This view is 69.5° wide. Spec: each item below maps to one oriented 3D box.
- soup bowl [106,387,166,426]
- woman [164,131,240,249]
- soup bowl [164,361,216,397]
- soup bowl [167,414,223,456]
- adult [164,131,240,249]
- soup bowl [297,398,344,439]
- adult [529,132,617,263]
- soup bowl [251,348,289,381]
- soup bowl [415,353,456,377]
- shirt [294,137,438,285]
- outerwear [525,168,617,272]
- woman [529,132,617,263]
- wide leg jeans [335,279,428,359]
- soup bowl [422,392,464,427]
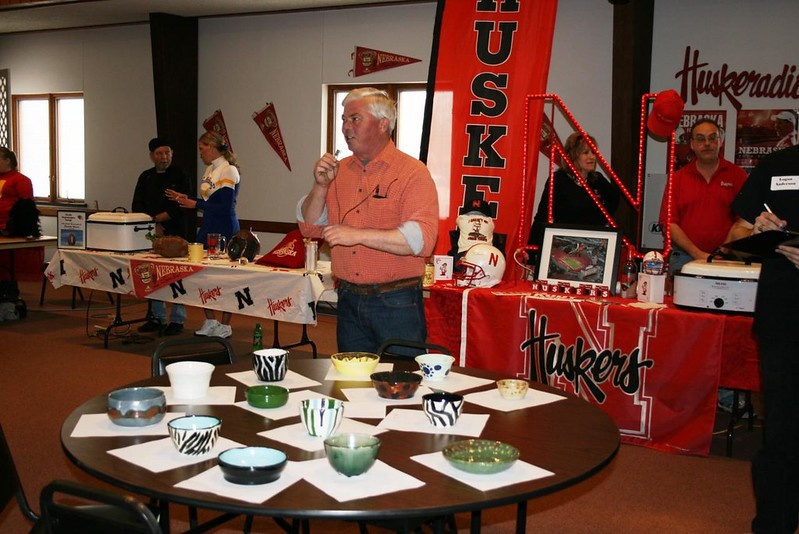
[{"bbox_3d":[-0.871,0.458,1.916,0.137,0.067,0.140,3,1,0],"label":"soup bowl"},{"bbox_3d":[-1.869,-0.731,5.487,0.640,1.083,0.690,-2,12,-18],"label":"woman"},{"bbox_3d":[-0.787,0.412,2.163,0.138,0.078,0.134,0,0,0],"label":"soup bowl"},{"bbox_3d":[-0.611,0.499,1.749,0.119,0.066,0.116,-1,-3,0],"label":"soup bowl"},{"bbox_3d":[-1.861,-0.733,5.496,0.623,1.083,0.664,-2,12,-19],"label":"adult"},{"bbox_3d":[-0.256,0.469,1.835,0.129,0.088,0.126,1,-2,0],"label":"soup bowl"},{"bbox_3d":[1.445,-0.575,4.740,0.699,1.036,1.672,6,12,20],"label":"adult"},{"bbox_3d":[-0.522,0.374,2.299,0.128,0.093,0.136,-1,5,0],"label":"soup bowl"},{"bbox_3d":[0.135,0.393,2.358,0.112,0.060,0.110,-2,0,0],"label":"soup bowl"},{"bbox_3d":[-0.107,-0.282,2.998,0.697,0.728,0.392,12,15,41],"label":"shirt"},{"bbox_3d":[1.304,-0.352,4.343,0.871,0.993,0.544,1,-4,9],"label":"outerwear"},{"bbox_3d":[1.445,-0.575,4.740,0.699,1.036,1.672,6,12,20],"label":"woman"},{"bbox_3d":[-0.086,0.267,2.944,0.405,0.536,0.210,1,2,19],"label":"wide leg jeans"},{"bbox_3d":[0.156,0.473,1.930,0.112,0.070,0.110,0,-1,0],"label":"soup bowl"}]
